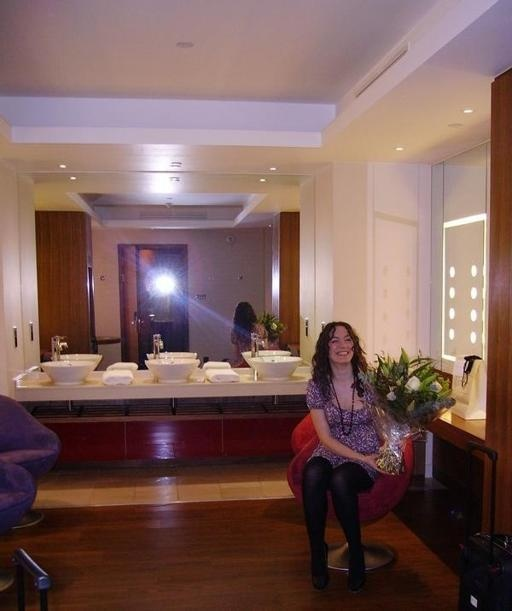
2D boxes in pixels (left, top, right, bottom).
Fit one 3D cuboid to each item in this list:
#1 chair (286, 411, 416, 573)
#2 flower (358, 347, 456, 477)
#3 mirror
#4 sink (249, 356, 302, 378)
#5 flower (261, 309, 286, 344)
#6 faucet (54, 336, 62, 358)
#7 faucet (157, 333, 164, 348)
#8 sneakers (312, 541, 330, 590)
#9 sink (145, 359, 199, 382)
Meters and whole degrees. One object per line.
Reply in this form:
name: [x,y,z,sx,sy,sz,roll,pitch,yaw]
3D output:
chair: [0.511,0.876,2.371,0.588,0.766,0.640,-1,-26,10]
flower: [0.648,0.475,1.946,0.348,0.558,0.274,-1,-3,21]
mirror: [-0.608,-0.335,3.944,2.278,1.577,0.256,0,-3,-9]
sink: [0.156,0.538,3.950,0.438,0.194,0.353,0,-3,-3]
flower: [0.152,0.196,4.055,0.175,0.245,0.247,-16,-8,10]
faucet: [-1.645,0.353,3.841,0.067,0.185,0.044,1,-3,-17]
faucet: [-0.775,0.302,3.782,0.060,0.099,0.094,1,4,-7]
sneakers: [0.278,1.111,1.976,0.067,0.205,0.054,-4,-3,36]
sink: [-0.673,0.541,3.739,0.400,0.178,0.298,0,-3,-8]
